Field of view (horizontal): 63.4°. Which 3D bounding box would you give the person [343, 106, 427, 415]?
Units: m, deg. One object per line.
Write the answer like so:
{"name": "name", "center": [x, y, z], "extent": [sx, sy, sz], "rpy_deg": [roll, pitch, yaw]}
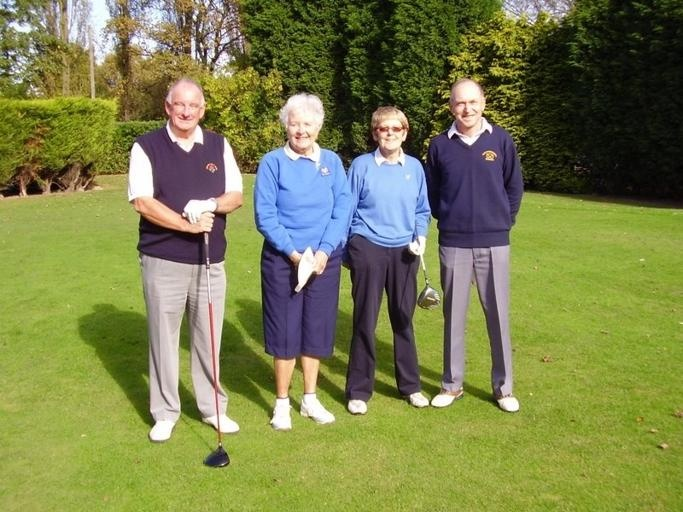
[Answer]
{"name": "person", "center": [0.414, 0.027, 4.650], "extent": [0.728, 2.505, 0.511], "rpy_deg": [0, 10, -11]}

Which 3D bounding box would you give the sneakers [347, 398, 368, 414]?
{"name": "sneakers", "center": [0.146, 1.251, 4.625], "extent": [0.180, 0.099, 0.150], "rpy_deg": [1, 11, -9]}

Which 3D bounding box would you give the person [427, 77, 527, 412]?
{"name": "person", "center": [1.101, -0.069, 4.593], "extent": [0.853, 2.689, 0.429], "rpy_deg": [3, 10, 8]}

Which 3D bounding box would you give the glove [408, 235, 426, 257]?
{"name": "glove", "center": [0.624, -0.092, 4.595], "extent": [0.128, 0.136, 0.197], "rpy_deg": [6, 11, 20]}

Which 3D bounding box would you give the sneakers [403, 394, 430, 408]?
{"name": "sneakers", "center": [0.663, 1.226, 4.718], "extent": [0.092, 0.076, 0.165], "rpy_deg": [-5, -2, -30]}

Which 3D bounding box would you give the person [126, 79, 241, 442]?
{"name": "person", "center": [-1.157, 0.035, 4.152], "extent": [0.795, 2.668, 0.522], "rpy_deg": [-2, 11, -23]}

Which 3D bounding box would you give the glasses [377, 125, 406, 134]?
{"name": "glasses", "center": [0.406, -1.037, 4.541], "extent": [0.238, 0.059, 0.086], "rpy_deg": [3, 11, 4]}

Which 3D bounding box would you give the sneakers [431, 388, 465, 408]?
{"name": "sneakers", "center": [0.912, 1.207, 4.755], "extent": [0.289, 0.133, 0.118], "rpy_deg": [-19, 12, -27]}

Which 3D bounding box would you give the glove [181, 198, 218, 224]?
{"name": "glove", "center": [-1.019, -0.323, 3.989], "extent": [0.241, 0.165, 0.154], "rpy_deg": [-2, 11, -22]}

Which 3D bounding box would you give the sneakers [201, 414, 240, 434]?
{"name": "sneakers", "center": [-0.942, 1.302, 4.353], "extent": [0.258, 0.113, 0.147], "rpy_deg": [8, 10, 26]}

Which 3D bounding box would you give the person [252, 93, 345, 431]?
{"name": "person", "center": [-0.301, 0.047, 4.350], "extent": [0.756, 2.582, 0.503], "rpy_deg": [0, 10, -9]}

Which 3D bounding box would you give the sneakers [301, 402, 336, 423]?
{"name": "sneakers", "center": [-0.191, 1.255, 4.519], "extent": [0.261, 0.123, 0.130], "rpy_deg": [8, 12, 38]}
